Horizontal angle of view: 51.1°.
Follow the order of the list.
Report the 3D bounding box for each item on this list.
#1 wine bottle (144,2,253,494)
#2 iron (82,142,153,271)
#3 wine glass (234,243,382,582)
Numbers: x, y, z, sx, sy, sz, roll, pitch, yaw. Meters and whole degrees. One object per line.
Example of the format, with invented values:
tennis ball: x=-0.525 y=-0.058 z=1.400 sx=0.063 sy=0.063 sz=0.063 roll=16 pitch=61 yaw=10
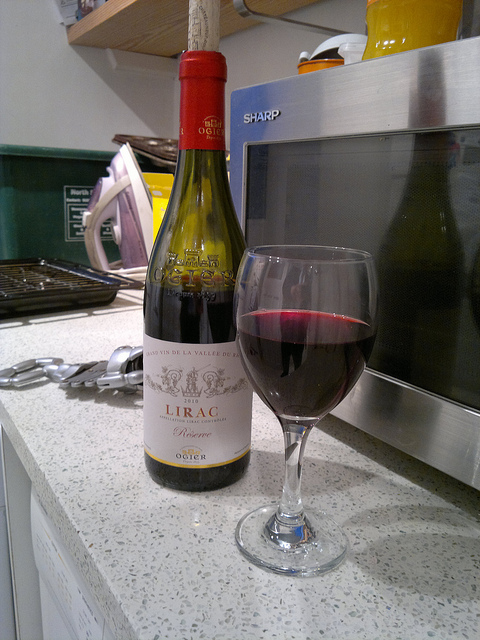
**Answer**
wine bottle: x=-0.024 y=-0.031 z=0.312 sx=0.070 sy=0.281 sz=0.081 roll=0 pitch=12 yaw=-11
iron: x=-0.267 y=-0.255 z=1.129 sx=0.173 sy=0.291 sz=0.117 roll=3 pitch=11 yaw=4
wine glass: x=0.034 y=0.043 z=0.268 sx=0.069 sy=0.162 sz=0.084 roll=7 pitch=13 yaw=24
